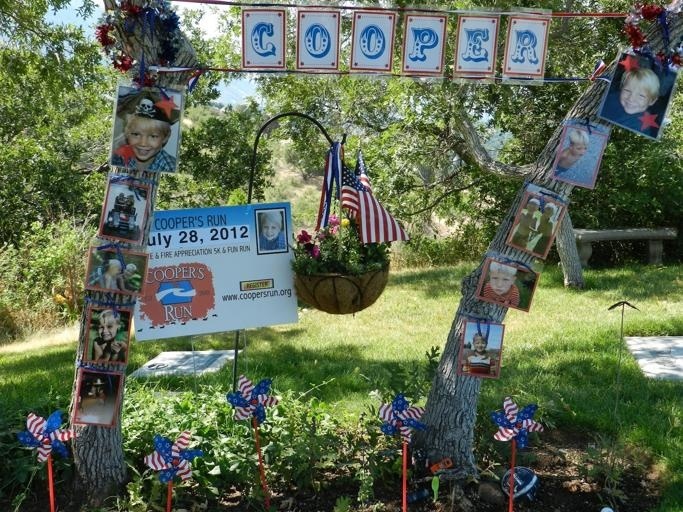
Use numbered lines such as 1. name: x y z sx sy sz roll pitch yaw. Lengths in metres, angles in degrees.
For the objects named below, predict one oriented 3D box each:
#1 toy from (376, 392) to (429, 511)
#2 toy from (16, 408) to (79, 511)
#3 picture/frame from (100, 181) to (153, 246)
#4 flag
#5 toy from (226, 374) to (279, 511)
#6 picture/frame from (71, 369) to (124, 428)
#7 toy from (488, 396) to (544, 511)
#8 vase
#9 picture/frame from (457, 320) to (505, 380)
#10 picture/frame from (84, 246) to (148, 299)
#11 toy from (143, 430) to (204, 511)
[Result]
1. toy: 0.501 1.608 5.895 0.364 0.999 0.667 2 6 8
2. toy: -2.392 1.668 5.781 0.438 0.981 0.618 -2 7 -21
3. picture/frame: -1.759 -0.396 5.993 0.361 0.534 0.517 7 5 -18
4. flag: 0.172 -0.578 6.287 0.764 0.882 0.447 7 9 43
5. toy: -0.755 1.525 5.979 0.398 1.137 0.520 0 6 -7
6. picture/frame: -2.022 1.184 5.865 0.428 0.537 0.039 8 -3 -11
7. toy: 1.464 1.600 5.968 0.382 0.992 0.822 3 6 14
8. vase: -0.026 0.315 6.239 0.510 0.250 0.525 -3 -5 33
9. picture/frame: 1.162 0.790 5.996 0.442 0.612 0.063 5 -8 6
10. picture/frame: -1.860 0.134 5.832 0.401 0.348 0.032 6 -2 -14
11. toy: -1.367 1.751 5.651 0.409 0.771 0.415 -3 7 -30
